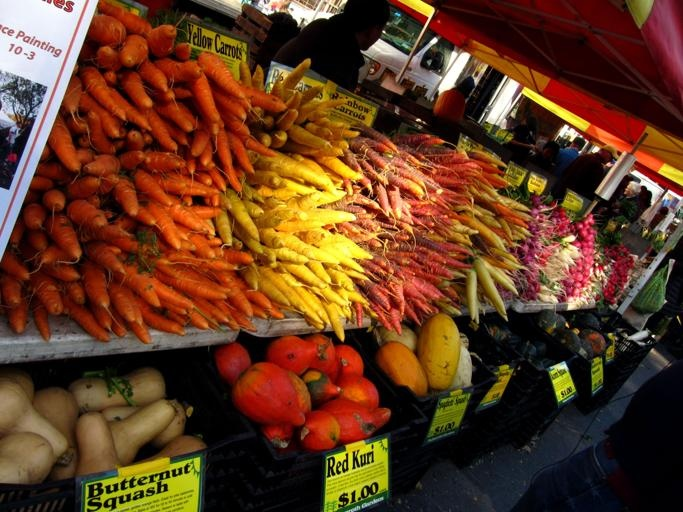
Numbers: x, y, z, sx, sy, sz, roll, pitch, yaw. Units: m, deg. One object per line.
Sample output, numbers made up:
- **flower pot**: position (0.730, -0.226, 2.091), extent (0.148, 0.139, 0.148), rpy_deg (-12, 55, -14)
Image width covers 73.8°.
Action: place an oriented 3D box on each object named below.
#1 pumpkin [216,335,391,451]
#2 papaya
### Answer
- **pumpkin**: position (-0.174, 0.626, 2.119), extent (0.618, 0.205, 0.592), rpy_deg (1, 39, -51)
- **papaya**: position (0.532, 0.610, 2.694), extent (0.533, 0.408, 0.239), rpy_deg (19, -11, -27)
